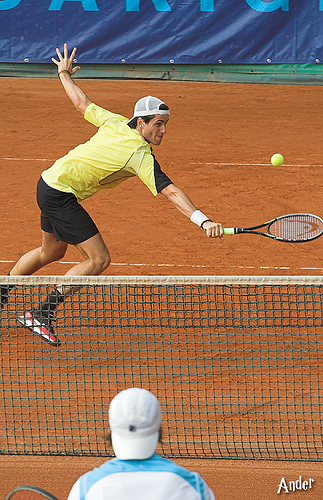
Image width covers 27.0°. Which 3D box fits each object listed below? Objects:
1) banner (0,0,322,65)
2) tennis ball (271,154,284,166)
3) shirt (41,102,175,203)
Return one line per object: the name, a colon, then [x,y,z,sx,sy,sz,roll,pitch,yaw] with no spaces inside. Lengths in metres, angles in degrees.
banner: [-0.014,-3.659,11.263,5.278,1.345,0.605,-4,18,2]
tennis ball: [1.132,-0.884,6.572,0.094,0.128,0.213,-2,16,14]
shirt: [-0.421,-0.556,5.004,0.738,0.271,0.948,-26,45,-16]
